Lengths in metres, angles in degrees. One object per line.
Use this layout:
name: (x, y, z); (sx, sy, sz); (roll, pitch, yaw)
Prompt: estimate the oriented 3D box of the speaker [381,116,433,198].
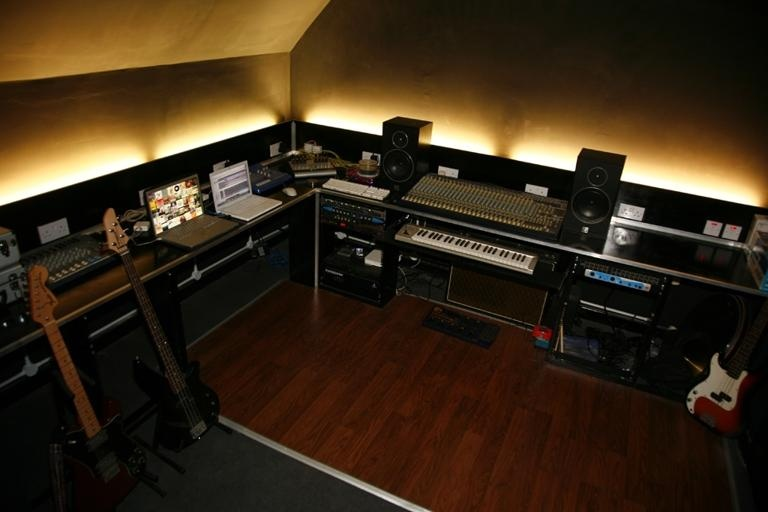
speaker: (0.189, -0.841, 4.369); (0.409, 0.773, 0.424); (15, 35, 22)
